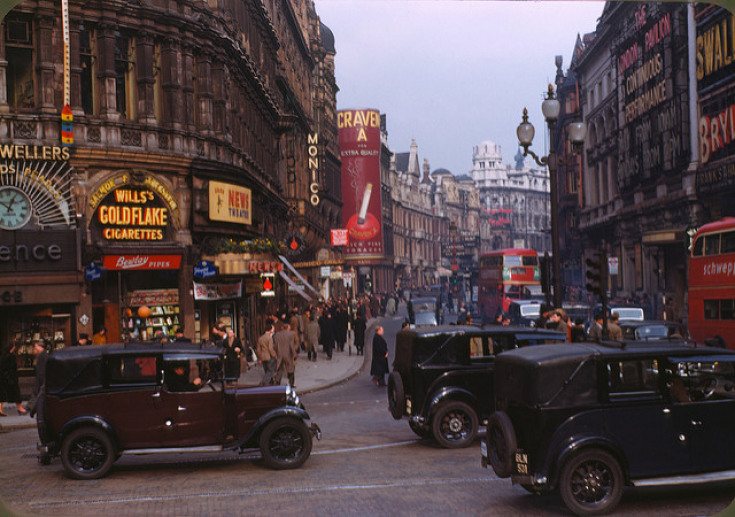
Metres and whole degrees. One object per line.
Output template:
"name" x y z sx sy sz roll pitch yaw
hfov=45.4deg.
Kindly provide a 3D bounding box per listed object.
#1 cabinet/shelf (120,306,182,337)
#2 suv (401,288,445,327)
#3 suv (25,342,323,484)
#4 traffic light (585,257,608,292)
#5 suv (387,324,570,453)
"cabinet/shelf" -8.040 2.347 32.586 2.195 1.200 0.380 4 -5 -40
"suv" 3.512 3.550 55.728 1.523 2.667 5.562 -1 0 0
"suv" -4.457 3.447 20.305 5.289 2.982 2.872 -1 -1 -7
"traffic light" 6.119 0.446 23.649 0.508 1.031 0.866 -1 -4 13
"suv" 2.656 2.986 21.713 3.973 2.287 2.328 -2 2 -14
